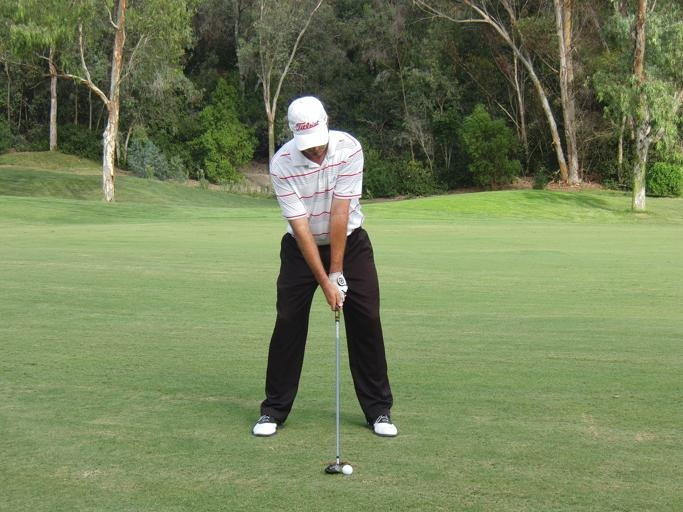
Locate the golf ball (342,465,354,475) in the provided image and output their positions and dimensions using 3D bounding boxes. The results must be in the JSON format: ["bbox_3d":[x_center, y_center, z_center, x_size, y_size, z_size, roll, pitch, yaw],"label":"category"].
[{"bbox_3d":[0.046,1.571,6.135,0.084,0.070,0.074,-10,-37,30],"label":"golf ball"}]

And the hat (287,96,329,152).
[{"bbox_3d":[-0.276,-1.076,6.847,0.344,0.430,0.240,-9,-24,0],"label":"hat"}]

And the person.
[{"bbox_3d":[-0.137,0.047,6.968,1.158,2.760,0.689,0,3,-1],"label":"person"}]

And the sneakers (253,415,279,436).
[{"bbox_3d":[-0.617,1.361,6.703,0.171,0.140,0.114,0,3,4],"label":"sneakers"}]

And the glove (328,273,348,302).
[{"bbox_3d":[-0.015,0.256,6.901,0.165,0.218,0.103,-9,3,22],"label":"glove"}]
